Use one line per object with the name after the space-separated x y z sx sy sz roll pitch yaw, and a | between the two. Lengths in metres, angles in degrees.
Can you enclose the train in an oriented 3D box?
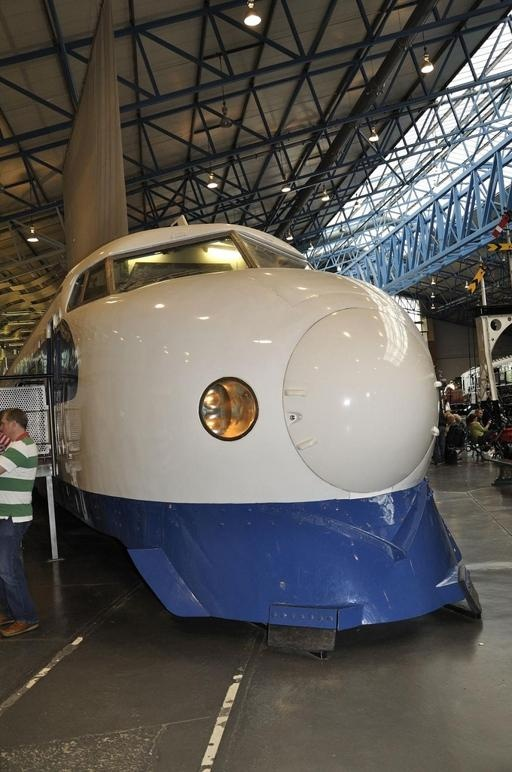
-0.675 0.354 5.007 1.482 1.915 4.978 -1 -2 -21 | train
